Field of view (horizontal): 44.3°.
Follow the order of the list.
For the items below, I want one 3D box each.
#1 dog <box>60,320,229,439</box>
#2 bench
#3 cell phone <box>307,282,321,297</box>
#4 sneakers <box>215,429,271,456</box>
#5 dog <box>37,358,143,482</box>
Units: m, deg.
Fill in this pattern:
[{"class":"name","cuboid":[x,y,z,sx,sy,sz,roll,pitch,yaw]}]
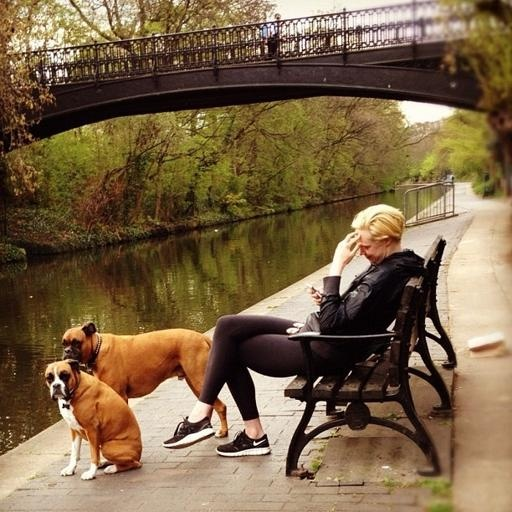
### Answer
[{"class":"dog","cuboid":[-0.826,0.953,4.812,1.487,0.766,0.415,3,-13,-31]},{"class":"bench","cuboid":[0.796,0.694,4.284,0.901,0.880,2.093,0,-2,17]},{"class":"cell phone","cuboid":[0.376,0.225,4.393,0.042,0.061,0.180,-32,-25,16]},{"class":"sneakers","cuboid":[-0.075,1.259,4.228,0.384,0.155,0.141,0,-10,5]},{"class":"dog","cuboid":[-1.094,1.045,4.124,0.555,0.635,0.344,-11,6,-5]}]
